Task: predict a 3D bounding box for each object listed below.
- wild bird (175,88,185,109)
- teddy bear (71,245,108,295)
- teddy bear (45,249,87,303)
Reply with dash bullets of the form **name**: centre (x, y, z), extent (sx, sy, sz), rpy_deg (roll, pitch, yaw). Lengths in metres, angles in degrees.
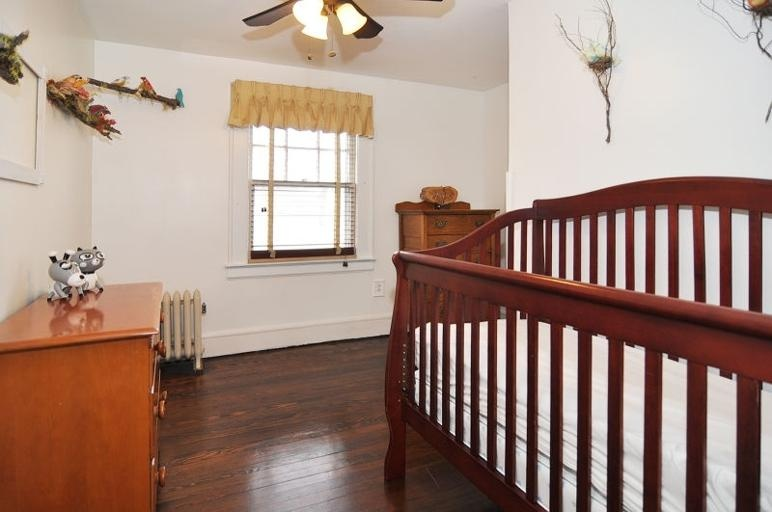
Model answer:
- **wild bird**: centre (-1.545, -1.183, 4.050), extent (0.060, 0.144, 0.131), rpy_deg (-4, 15, -18)
- **teddy bear**: centre (-1.515, 0.077, 2.717), extent (0.156, 0.240, 0.156), rpy_deg (3, 4, 7)
- **teddy bear**: centre (-1.558, 0.096, 2.629), extent (0.212, 0.262, 0.127), rpy_deg (10, 13, 11)
